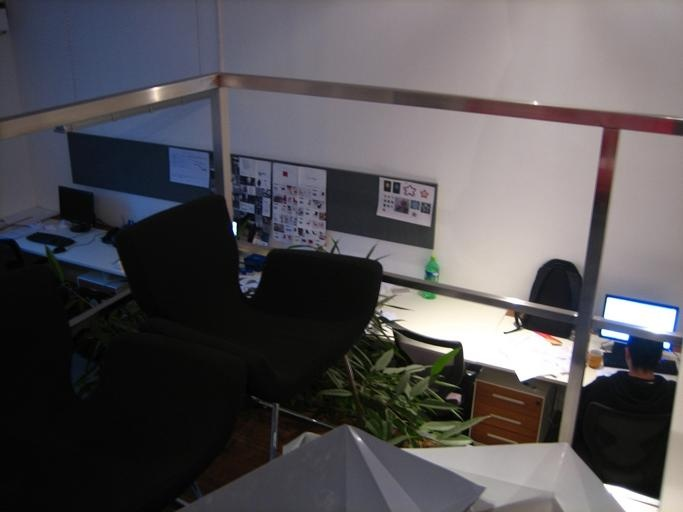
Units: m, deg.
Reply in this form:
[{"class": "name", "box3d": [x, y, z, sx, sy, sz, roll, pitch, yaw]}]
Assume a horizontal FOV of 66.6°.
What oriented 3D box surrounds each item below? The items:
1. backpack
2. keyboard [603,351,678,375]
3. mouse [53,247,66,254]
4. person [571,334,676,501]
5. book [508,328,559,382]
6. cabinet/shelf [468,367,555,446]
[{"class": "backpack", "box3d": [1.425, 0.279, 3.505, 0.383, 0.568, 0.494, 16, 15, 22]}, {"class": "keyboard", "box3d": [1.816, 0.655, 3.145, 0.396, 0.030, 0.128, 4, 26, 25]}, {"class": "mouse", "box3d": [-1.413, -0.029, 2.601, 0.042, 0.015, 0.060, 0, 12, -12]}, {"class": "person", "box3d": [1.453, 0.919, 2.675, 0.469, 0.737, 0.262, 11, 14, 20]}, {"class": "book", "box3d": [1.267, 0.664, 3.508, 0.274, 0.013, 0.251, -18, 26, -37]}, {"class": "cabinet/shelf", "box3d": [1.117, 1.055, 3.545, 0.419, 0.484, 0.358, 10, 10, 17]}]
